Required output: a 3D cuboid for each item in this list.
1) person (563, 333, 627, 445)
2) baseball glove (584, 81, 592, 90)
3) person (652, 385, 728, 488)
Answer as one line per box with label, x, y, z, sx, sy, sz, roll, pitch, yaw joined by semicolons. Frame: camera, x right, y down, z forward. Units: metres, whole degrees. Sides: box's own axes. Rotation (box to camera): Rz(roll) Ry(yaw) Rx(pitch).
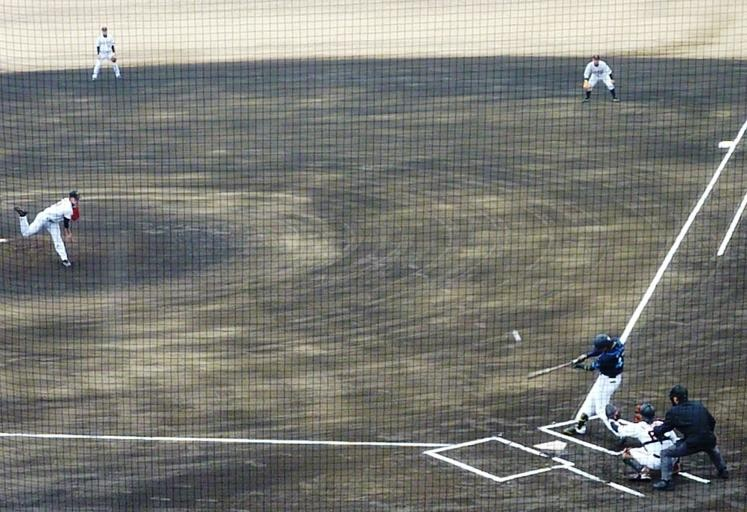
person;5.966;3.632;55.146;1.918;2.358;0.994;4;-5;-19
baseball glove;6.785;-5.269;64.260;0.338;0.230;0.089;-15;27;-24
person;8.383;4.905;53.947;1.885;2.616;0.974;-2;25;0
